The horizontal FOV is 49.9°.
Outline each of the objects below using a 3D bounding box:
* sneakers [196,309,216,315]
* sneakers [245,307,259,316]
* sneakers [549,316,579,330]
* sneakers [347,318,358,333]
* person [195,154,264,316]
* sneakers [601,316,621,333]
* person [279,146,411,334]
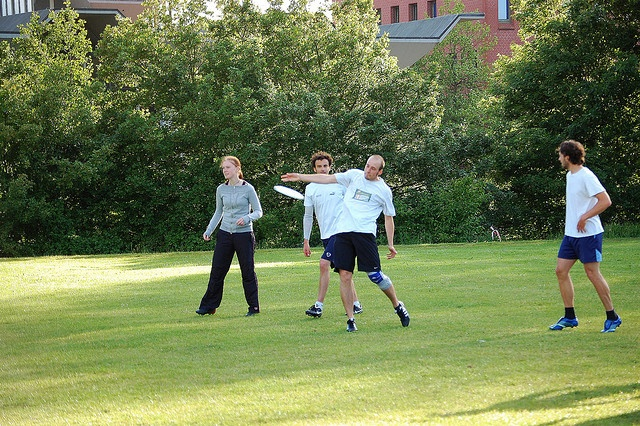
[{"bbox_3d":[-2.166,1.891,13.157,0.354,0.154,0.118,1,-7,3],"label":"sneakers"},{"bbox_3d":[-1.269,1.869,13.121,0.251,0.140,0.250,-2,12,-6],"label":"sneakers"},{"bbox_3d":[4.196,1.902,11.932,0.568,0.230,0.189,-6,0,5],"label":"sneakers"},{"bbox_3d":[0.562,1.969,11.934,0.117,0.124,0.323,0,0,9],"label":"sneakers"},{"bbox_3d":[-1.697,0.463,13.316,1.172,3.029,1.121,-3,13,-4],"label":"person"},{"bbox_3d":[4.952,1.892,11.736,0.267,0.225,0.459,5,13,28],"label":"sneakers"},{"bbox_3d":[0.748,0.442,12.185,1.255,2.850,0.838,-3,13,-5],"label":"person"}]
